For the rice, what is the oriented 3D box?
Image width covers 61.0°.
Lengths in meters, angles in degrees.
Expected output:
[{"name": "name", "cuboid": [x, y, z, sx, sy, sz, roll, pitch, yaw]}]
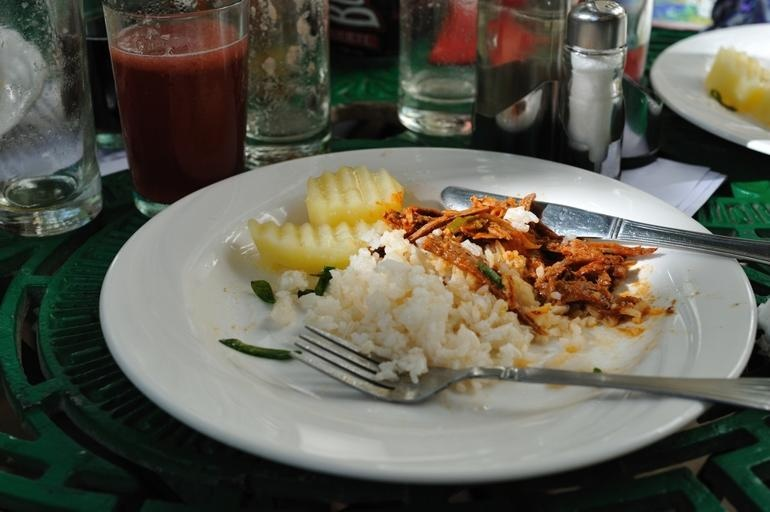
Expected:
[{"name": "rice", "cuboid": [0.042, 0.042, 0.819, 0.353, 0.160, 0.246, -12, 19, -28]}]
